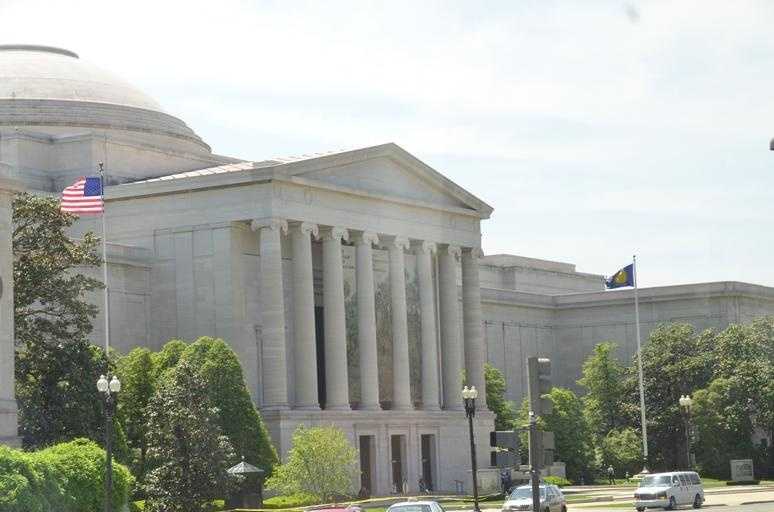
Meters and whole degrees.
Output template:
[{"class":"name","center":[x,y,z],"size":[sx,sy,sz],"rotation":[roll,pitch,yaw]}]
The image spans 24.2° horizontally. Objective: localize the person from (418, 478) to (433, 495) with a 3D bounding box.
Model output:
[{"class":"person","center":[2.743,16.680,130.754],"size":[0.669,0.924,1.087],"rotation":[-7,-13,19]}]

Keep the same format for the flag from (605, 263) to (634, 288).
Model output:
[{"class":"flag","center":[16.661,1.603,127.060],"size":[2.210,1.727,0.308],"rotation":[0,0,40]}]

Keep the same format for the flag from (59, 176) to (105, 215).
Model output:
[{"class":"flag","center":[-19.550,-3.783,115.549],"size":[2.390,2.557,1.854],"rotation":[-2,-8,-2]}]
